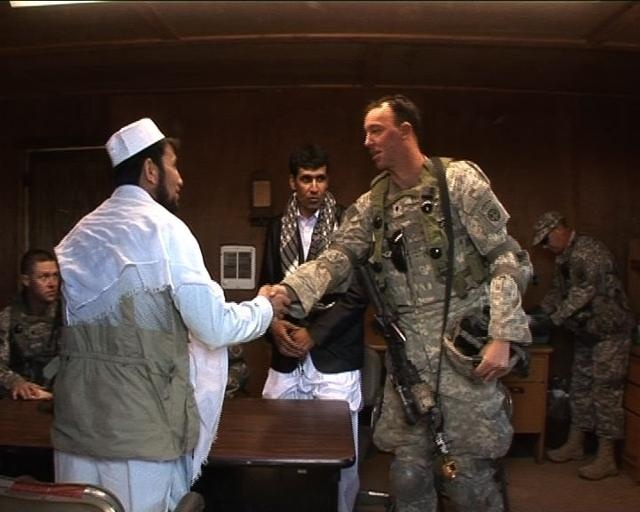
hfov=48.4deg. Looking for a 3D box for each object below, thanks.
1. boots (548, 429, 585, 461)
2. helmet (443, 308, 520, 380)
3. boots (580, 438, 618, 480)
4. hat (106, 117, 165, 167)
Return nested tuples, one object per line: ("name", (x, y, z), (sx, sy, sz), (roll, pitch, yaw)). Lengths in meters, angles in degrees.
("boots", (1.912, 1.463, 5.570), (0.350, 0.245, 0.152), (-2, 0, -3))
("helmet", (0.807, 0.466, 3.705), (0.489, 0.243, 0.342), (-2, 5, 15))
("boots", (2.059, 1.501, 5.309), (0.384, 0.281, 0.173), (-4, 4, -30))
("hat", (-0.889, -0.554, 3.459), (0.288, 0.140, 0.258), (-28, 17, 10))
